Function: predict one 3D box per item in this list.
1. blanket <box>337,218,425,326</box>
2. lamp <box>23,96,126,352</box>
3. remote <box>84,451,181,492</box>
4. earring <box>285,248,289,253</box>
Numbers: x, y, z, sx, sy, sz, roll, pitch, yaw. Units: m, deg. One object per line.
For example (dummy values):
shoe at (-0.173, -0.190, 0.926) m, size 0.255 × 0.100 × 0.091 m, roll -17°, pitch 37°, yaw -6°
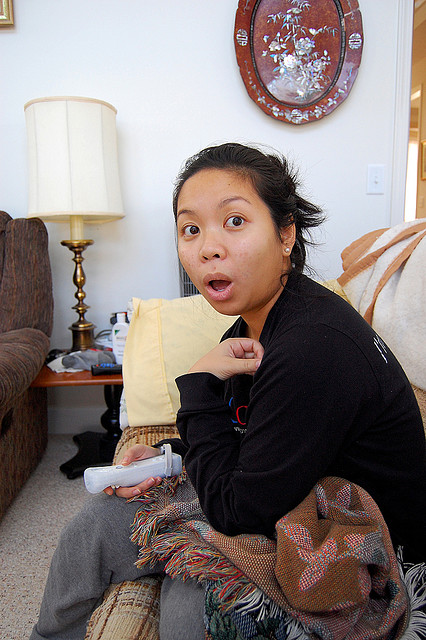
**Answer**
blanket at (0.403, -0.144, 1.187) m, size 0.104 × 0.290 × 0.218 m, roll 37°, pitch -22°, yaw -12°
lamp at (-0.511, -0.332, 1.834) m, size 0.361 × 0.926 × 0.350 m, roll -5°, pitch 10°, yaw -6°
remote at (-0.122, 0.228, 0.785) m, size 0.162 × 0.057 × 0.059 m, roll -6°, pitch 8°, yaw -41°
earring at (0.109, -0.104, 0.716) m, size 0.001 × 0.007 × 0.007 m, roll 6°, pitch 14°, yaw 45°
